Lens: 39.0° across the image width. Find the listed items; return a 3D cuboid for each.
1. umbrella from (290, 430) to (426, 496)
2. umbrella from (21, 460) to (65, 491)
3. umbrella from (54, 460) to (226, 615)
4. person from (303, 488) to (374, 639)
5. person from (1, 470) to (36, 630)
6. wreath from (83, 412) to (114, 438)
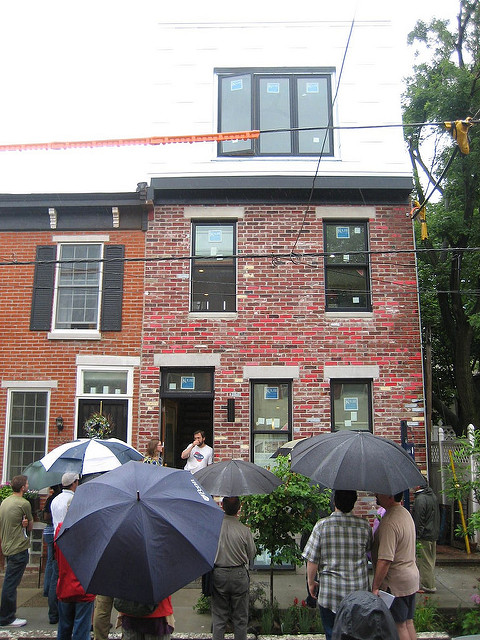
[{"bbox_3d":[0.924,1.142,5.517,1.059,0.538,0.829,-5,-15,19],"label":"umbrella"},{"bbox_3d":[-2.381,1.876,8.126,0.392,0.164,0.388,2,4,-9],"label":"umbrella"},{"bbox_3d":[-0.629,1.322,4.276,1.039,0.791,0.626,0,-15,-2],"label":"umbrella"},{"bbox_3d":[0.775,1.938,5.393,0.572,1.145,0.428,-2,-15,9],"label":"person"},{"bbox_3d":[-2.643,2.686,8.053,0.394,1.778,0.493,1,-15,-5],"label":"person"},{"bbox_3d":[-2.298,1.720,11.112,0.491,0.442,0.519,3,-15,-12],"label":"wreath"}]
